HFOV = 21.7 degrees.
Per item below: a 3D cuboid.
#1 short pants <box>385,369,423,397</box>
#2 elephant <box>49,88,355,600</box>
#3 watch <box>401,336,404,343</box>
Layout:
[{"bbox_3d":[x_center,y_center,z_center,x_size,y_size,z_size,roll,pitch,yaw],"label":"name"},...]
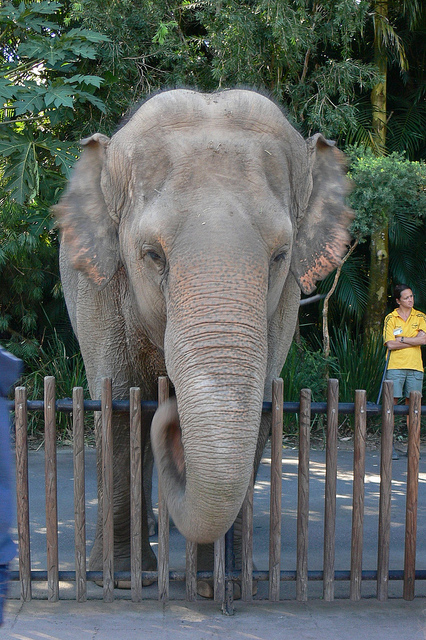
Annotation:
[{"bbox_3d":[1.285,0.420,7.427,0.219,0.228,0.137,1,-6,-8],"label":"short pants"},{"bbox_3d":[-0.117,0.163,4.858,1.276,2.349,1.616,1,6,4],"label":"elephant"},{"bbox_3d":[1.371,0.147,8.009,0.008,0.029,0.019,7,-7,-29],"label":"watch"}]
